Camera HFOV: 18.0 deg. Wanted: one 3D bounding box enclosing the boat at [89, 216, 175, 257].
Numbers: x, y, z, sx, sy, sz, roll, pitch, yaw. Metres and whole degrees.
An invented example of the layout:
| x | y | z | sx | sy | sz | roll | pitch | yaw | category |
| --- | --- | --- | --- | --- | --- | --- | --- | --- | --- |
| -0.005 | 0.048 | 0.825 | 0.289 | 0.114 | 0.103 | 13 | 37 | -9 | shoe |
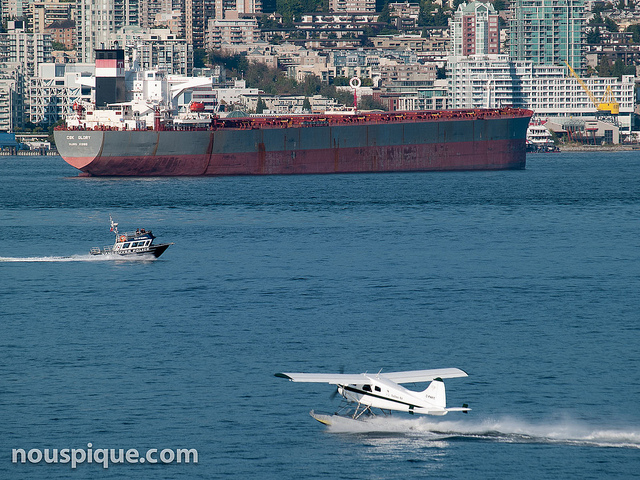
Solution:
| x | y | z | sx | sy | sz | roll | pitch | yaw | category |
| --- | --- | --- | --- | --- | --- | --- | --- | --- | --- |
| -14.087 | -0.075 | 151.553 | 6.408 | 3.091 | 1.751 | -3 | 13 | 10 | boat |

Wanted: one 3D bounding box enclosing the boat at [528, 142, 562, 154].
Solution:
| x | y | z | sx | sy | sz | roll | pitch | yaw | category |
| --- | --- | --- | --- | --- | --- | --- | --- | --- | --- |
| 30.469 | -12.291 | 267.457 | 1.452 | 1.496 | 4.167 | 4 | 9 | 30 | boat |

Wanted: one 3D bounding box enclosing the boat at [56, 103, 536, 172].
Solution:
| x | y | z | sx | sy | sz | roll | pitch | yaw | category |
| --- | --- | --- | --- | --- | --- | --- | --- | --- | --- |
| -0.717 | -10.117 | 202.206 | 48.754 | 8.018 | 11.579 | -3 | 4 | -18 | boat |

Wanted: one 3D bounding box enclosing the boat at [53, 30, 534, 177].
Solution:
| x | y | z | sx | sy | sz | roll | pitch | yaw | category |
| --- | --- | --- | --- | --- | --- | --- | --- | --- | --- |
| -0.259 | -13.324 | 202.112 | 51.620 | 14.575 | 13.311 | -3 | -3 | -27 | boat |
